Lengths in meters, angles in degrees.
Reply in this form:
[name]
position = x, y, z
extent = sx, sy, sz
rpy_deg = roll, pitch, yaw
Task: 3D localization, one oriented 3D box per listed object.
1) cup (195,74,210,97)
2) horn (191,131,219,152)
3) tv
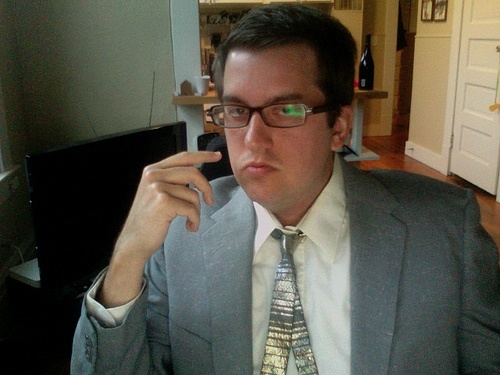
[cup]
position = -0.407, -0.915, 3.631
extent = 0.148, 0.164, 0.159
rpy_deg = 2, 23, -1
[horn]
position = -0.249, -0.266, 2.292
extent = 0.044, 0.116, 0.173
rpy_deg = 9, 11, 33
[tv]
position = -0.585, 0.105, 1.647
extent = 0.214, 0.603, 0.830
rpy_deg = 14, 26, 30
